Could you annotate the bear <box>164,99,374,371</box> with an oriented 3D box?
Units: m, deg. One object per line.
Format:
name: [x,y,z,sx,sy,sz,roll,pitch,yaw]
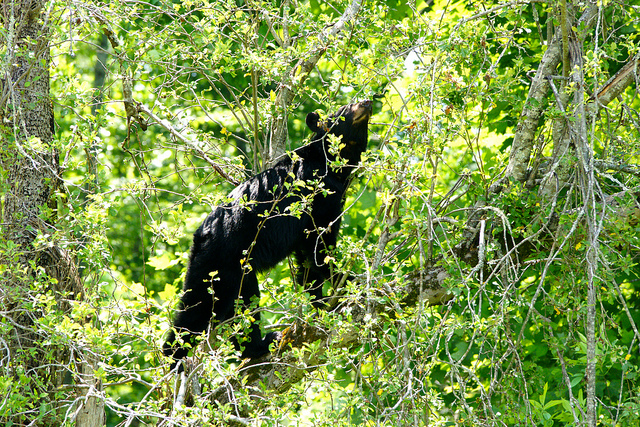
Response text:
bear: [-0.286,0.170,7.983,1.791,1.854,1.058,-12,7,-34]
